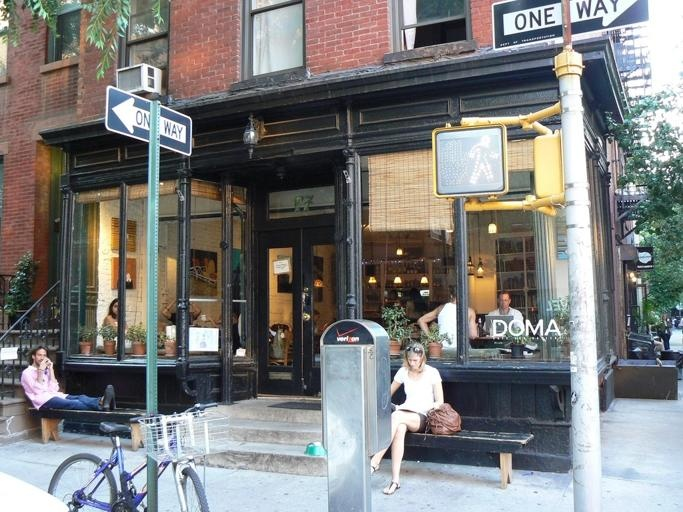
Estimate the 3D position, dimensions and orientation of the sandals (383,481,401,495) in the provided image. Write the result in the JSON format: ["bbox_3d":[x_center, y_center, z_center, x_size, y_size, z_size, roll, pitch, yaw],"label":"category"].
[{"bbox_3d":[0.597,2.742,7.605,0.092,0.106,0.257,-9,-18,28],"label":"sandals"}]

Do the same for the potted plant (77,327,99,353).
[{"bbox_3d":[-4.461,1.480,11.215,0.365,0.428,0.213,-2,-16,0],"label":"potted plant"}]

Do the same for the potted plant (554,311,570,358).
[{"bbox_3d":[3.011,1.055,8.642,0.153,0.607,0.125,-3,-6,6],"label":"potted plant"}]

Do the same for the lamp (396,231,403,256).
[{"bbox_3d":[0.858,-0.184,9.282,0.142,0.342,0.078,-3,-6,8],"label":"lamp"}]

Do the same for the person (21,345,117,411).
[{"bbox_3d":[-4.365,1.942,10.166,1.395,0.944,0.508,3,0,7],"label":"person"}]

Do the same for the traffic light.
[{"bbox_3d":[1.162,-0.856,5.795,0.650,0.639,0.158,-3,-6,10],"label":"traffic light"}]

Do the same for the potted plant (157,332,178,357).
[{"bbox_3d":[-2.937,1.482,10.687,0.320,0.368,0.336,0,-9,-1],"label":"potted plant"}]

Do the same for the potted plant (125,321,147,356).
[{"bbox_3d":[-3.513,1.409,10.904,0.333,0.556,0.170,-5,-7,24],"label":"potted plant"}]

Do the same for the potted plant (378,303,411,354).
[{"bbox_3d":[0.803,1.035,9.400,0.546,0.983,0.649,-1,-14,6],"label":"potted plant"}]

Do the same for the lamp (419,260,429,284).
[{"bbox_3d":[1.193,0.226,9.247,0.132,0.369,0.104,-4,-7,14],"label":"lamp"}]

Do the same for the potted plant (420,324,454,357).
[{"bbox_3d":[1.340,1.251,9.275,0.429,0.520,0.398,-20,-29,38],"label":"potted plant"}]

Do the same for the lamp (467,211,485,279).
[{"bbox_3d":[1.888,-0.148,9.011,0.230,0.897,0.095,-4,-7,15],"label":"lamp"}]

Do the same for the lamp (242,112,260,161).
[{"bbox_3d":[-1.431,-1.874,9.983,0.262,0.662,0.282,-3,-7,12],"label":"lamp"}]

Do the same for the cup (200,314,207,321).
[{"bbox_3d":[-2.252,0.991,10.408,0.077,0.110,0.104,0,-2,37],"label":"cup"}]

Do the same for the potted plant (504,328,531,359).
[{"bbox_3d":[2.437,1.225,8.773,0.231,0.372,0.357,0,-19,5],"label":"potted plant"}]
